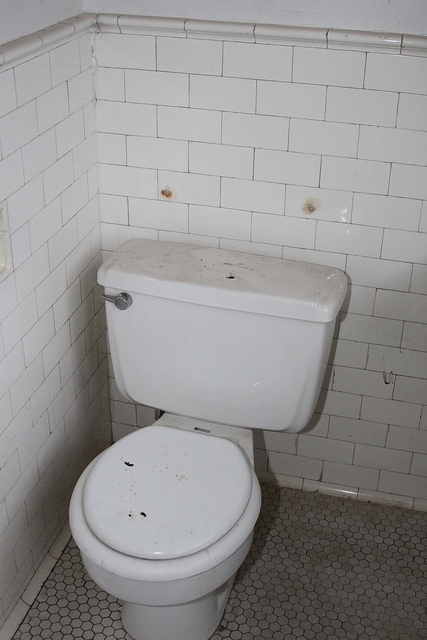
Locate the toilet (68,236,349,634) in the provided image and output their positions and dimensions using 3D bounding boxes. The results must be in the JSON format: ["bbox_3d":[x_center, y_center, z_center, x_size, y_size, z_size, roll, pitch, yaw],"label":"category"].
[{"bbox_3d":[-0.018,0.252,1.356,0.512,0.695,0.667,13,50,7],"label":"toilet"}]
